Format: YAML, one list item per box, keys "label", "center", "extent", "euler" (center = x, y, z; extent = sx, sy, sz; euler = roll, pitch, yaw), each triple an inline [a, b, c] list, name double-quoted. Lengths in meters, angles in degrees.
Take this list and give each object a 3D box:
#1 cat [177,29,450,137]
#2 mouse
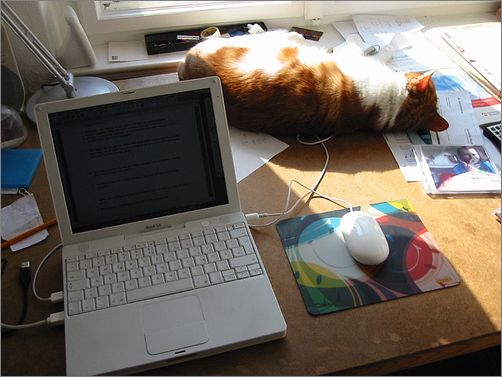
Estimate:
- label: "cat"
  center: [0.159, -0.256, 1.110]
  extent: [0.573, 0.184, 0.326]
  euler: [0, 55, -5]
- label: "mouse"
  center: [0.243, 0.094, 0.823]
  extent: [0.092, 0.048, 0.135]
  euler: [-23, 52, -10]
